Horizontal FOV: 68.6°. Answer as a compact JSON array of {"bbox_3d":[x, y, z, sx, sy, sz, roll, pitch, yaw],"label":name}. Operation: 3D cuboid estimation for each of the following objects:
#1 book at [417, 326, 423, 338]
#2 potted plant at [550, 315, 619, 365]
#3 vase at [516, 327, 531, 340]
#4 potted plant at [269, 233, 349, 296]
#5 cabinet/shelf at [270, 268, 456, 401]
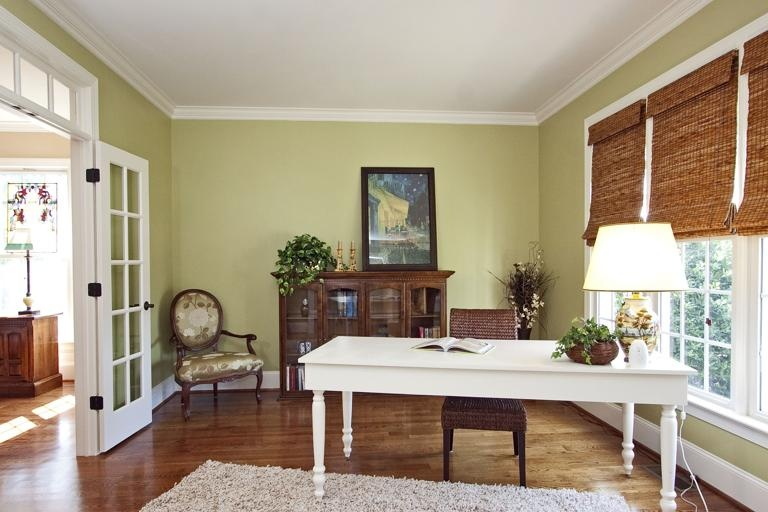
[{"bbox_3d":[0.462,0.957,7.135,0.111,0.150,0.157,1,-4,-7],"label":"book"},{"bbox_3d":[1.755,0.747,4.918,0.452,0.289,0.447,0,-8,2],"label":"potted plant"},{"bbox_3d":[1.719,0.971,7.055,0.206,0.151,0.188,8,-10,-35],"label":"vase"},{"bbox_3d":[-0.901,0.078,7.037,0.735,0.701,0.868,2,4,29],"label":"potted plant"},{"bbox_3d":[-0.240,0.845,6.224,1.664,1.145,0.427,0,-3,-1],"label":"cabinet/shelf"}]
